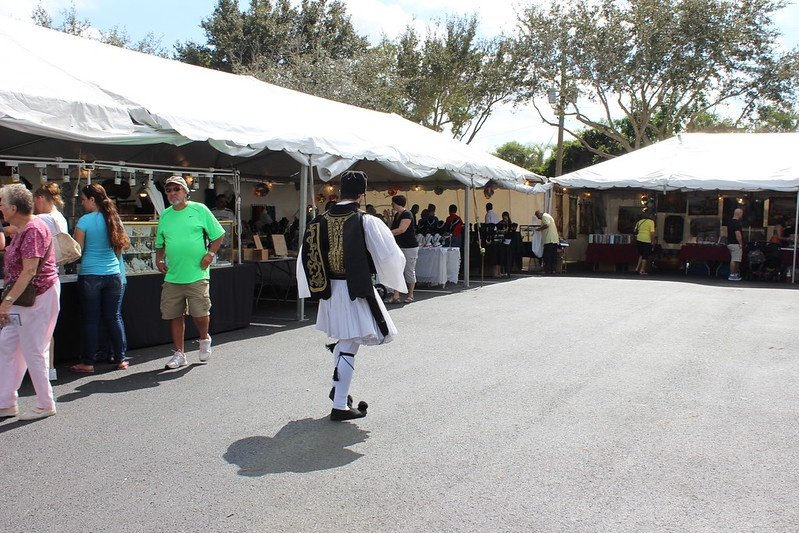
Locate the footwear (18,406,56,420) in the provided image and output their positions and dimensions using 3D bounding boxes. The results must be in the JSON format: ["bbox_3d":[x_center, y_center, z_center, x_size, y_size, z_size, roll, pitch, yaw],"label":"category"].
[{"bbox_3d":[-3.646,1.482,5.770,0.218,0.079,0.113,7,-4,-25],"label":"footwear"}]

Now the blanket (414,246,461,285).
[{"bbox_3d":[0.986,-0.020,14.938,1.005,0.770,1.023,6,16,25],"label":"blanket"}]

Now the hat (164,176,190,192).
[{"bbox_3d":[-2.853,-1.056,7.354,0.233,0.179,0.347,-4,-16,5],"label":"hat"}]

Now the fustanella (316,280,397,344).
[{"bbox_3d":[-0.510,0.519,5.912,0.675,0.694,0.498,-3,-26,-9],"label":"fustanella"}]

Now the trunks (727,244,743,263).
[{"bbox_3d":[9.841,-0.408,16.818,0.323,0.538,0.453,-12,12,-26],"label":"trunks"}]

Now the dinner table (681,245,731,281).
[{"bbox_3d":[9.753,-0.233,18.357,1.289,0.777,1.318,1,4,24],"label":"dinner table"}]

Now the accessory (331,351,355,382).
[{"bbox_3d":[-0.573,0.997,5.729,0.191,0.308,0.143,0,8,2],"label":"accessory"}]

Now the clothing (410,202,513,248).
[{"bbox_3d":[1.688,-1.022,16.448,1.975,1.142,1.998,0,6,11],"label":"clothing"}]

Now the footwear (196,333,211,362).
[{"bbox_3d":[-2.616,1.079,7.617,0.157,0.389,0.164,-2,2,6],"label":"footwear"}]

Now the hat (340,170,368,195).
[{"bbox_3d":[-0.468,-0.862,5.828,0.193,0.220,0.277,7,32,9],"label":"hat"}]

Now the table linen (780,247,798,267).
[{"bbox_3d":[11.088,-0.303,16.375,0.523,0.529,0.516,4,10,21],"label":"table linen"}]

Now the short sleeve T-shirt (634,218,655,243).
[{"bbox_3d":[7.834,-1.135,18.336,0.487,0.742,0.428,3,9,22],"label":"short sleeve T-shirt"}]

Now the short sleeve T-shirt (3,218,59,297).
[{"bbox_3d":[-3.713,-0.134,5.933,0.624,1.040,0.969,-1,1,-33],"label":"short sleeve T-shirt"}]

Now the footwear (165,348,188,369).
[{"bbox_3d":[-2.874,1.194,7.363,0.287,0.220,0.199,-5,10,-32],"label":"footwear"}]

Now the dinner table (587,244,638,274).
[{"bbox_3d":[7.242,-0.404,19.473,1.171,0.704,1.192,3,9,26],"label":"dinner table"}]

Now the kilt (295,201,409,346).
[{"bbox_3d":[-0.480,0.087,5.759,1.032,1.455,0.390,0,8,-3],"label":"kilt"}]

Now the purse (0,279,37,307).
[{"bbox_3d":[-3.673,0.255,5.529,0.271,0.277,0.111,6,-5,11],"label":"purse"}]

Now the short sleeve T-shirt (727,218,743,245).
[{"bbox_3d":[9.709,-1.006,16.635,0.337,0.731,0.535,5,10,30],"label":"short sleeve T-shirt"}]

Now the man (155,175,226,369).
[{"bbox_3d":[-2.744,0.067,7.532,0.921,2.418,0.734,-1,-2,-16],"label":"man"}]

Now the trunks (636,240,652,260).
[{"bbox_3d":[7.821,-0.561,18.382,0.452,0.834,0.302,11,36,41],"label":"trunks"}]

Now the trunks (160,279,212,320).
[{"bbox_3d":[-2.790,0.381,7.472,0.651,0.568,0.375,-2,-3,-3],"label":"trunks"}]

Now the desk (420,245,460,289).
[{"bbox_3d":[1.011,-0.008,14.986,1.002,0.765,1.022,6,16,25],"label":"desk"}]

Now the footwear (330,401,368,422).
[{"bbox_3d":[-0.521,1.462,5.813,0.361,0.147,0.155,-6,9,-31],"label":"footwear"}]
